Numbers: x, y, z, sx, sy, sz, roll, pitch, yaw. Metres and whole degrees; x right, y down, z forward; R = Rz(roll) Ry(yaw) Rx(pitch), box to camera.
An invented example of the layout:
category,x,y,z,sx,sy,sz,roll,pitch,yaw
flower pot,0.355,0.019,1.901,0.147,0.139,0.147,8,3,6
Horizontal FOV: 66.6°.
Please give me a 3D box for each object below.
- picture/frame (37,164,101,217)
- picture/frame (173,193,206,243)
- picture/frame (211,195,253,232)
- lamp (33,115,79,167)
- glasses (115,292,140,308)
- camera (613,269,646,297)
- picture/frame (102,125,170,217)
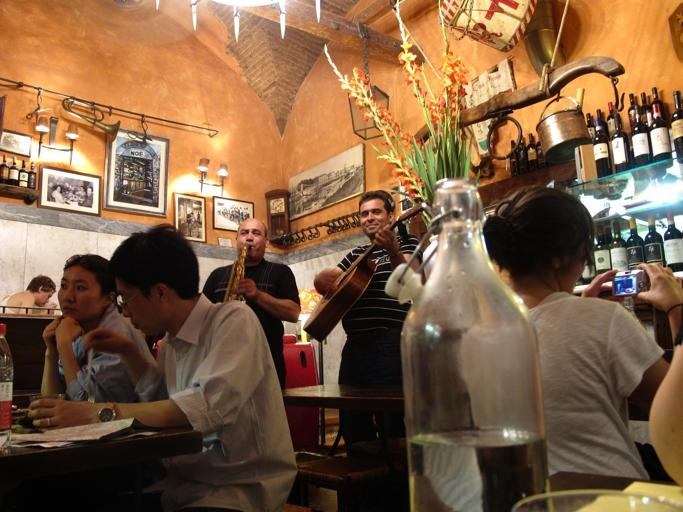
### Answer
category,x,y,z,sx,sy,sz,roll,pitch,yaw
picture/frame,-3.645,-0.858,6.865,0.879,0.752,0.103,9,-4,-34
picture/frame,-2.110,-0.533,7.165,0.028,0.550,0.759,-9,-20,43
picture/frame,-1.720,-0.649,7.918,0.097,0.533,0.775,-25,-17,38
lamp,-3.790,-1.465,6.876,0.452,0.666,0.272,5,-1,-6
glasses,-0.794,0.159,1.907,0.097,0.030,0.092,-5,4,-14
camera,0.940,0.069,1.702,0.033,0.121,0.123,2,1,-35
picture/frame,-2.952,-1.218,7.541,0.889,1.238,0.122,3,-10,-39
